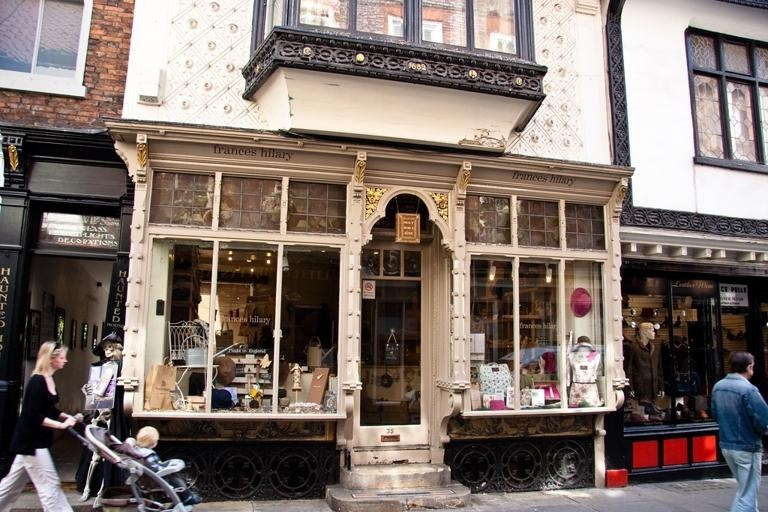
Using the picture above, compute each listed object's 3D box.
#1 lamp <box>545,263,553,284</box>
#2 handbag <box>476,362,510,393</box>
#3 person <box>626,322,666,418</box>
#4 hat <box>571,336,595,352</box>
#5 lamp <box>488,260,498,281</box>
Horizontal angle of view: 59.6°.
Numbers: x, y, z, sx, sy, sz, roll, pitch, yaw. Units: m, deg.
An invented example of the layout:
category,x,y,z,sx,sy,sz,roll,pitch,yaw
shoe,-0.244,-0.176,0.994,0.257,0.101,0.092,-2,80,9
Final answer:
category,x,y,z,sx,sy,sz,roll,pitch,yaw
lamp,3.258,0.360,13.187,0.155,0.381,0.066,2,-9,2
handbag,2.064,2.334,12.741,0.536,0.461,0.206,1,-17,-5
person,5.318,2.357,13.737,0.756,1.998,0.195,5,-10,-17
hat,3.942,1.736,13.228,0.463,0.303,0.073,4,-10,-16
lamp,2.106,0.304,12.953,0.170,0.388,0.065,7,-10,-27
